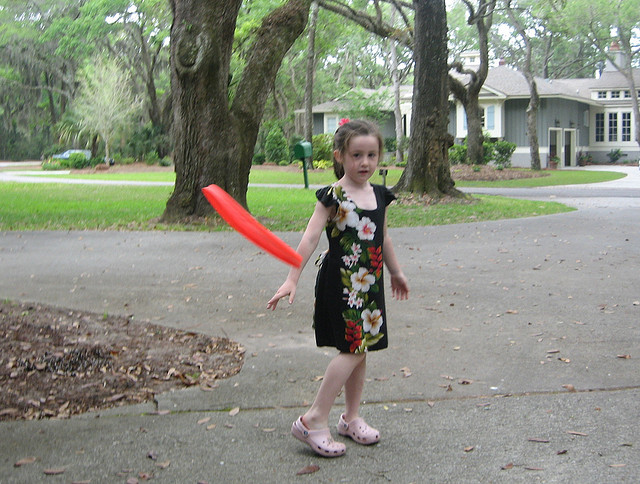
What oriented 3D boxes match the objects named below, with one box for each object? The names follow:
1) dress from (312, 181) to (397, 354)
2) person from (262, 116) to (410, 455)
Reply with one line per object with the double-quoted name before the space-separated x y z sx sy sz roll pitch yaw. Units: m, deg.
"dress" 0.215 0.147 4.089 0.513 1.014 0.338 -2 9 -12
"person" 0.160 0.244 4.069 0.927 1.962 0.493 -6 11 -32
